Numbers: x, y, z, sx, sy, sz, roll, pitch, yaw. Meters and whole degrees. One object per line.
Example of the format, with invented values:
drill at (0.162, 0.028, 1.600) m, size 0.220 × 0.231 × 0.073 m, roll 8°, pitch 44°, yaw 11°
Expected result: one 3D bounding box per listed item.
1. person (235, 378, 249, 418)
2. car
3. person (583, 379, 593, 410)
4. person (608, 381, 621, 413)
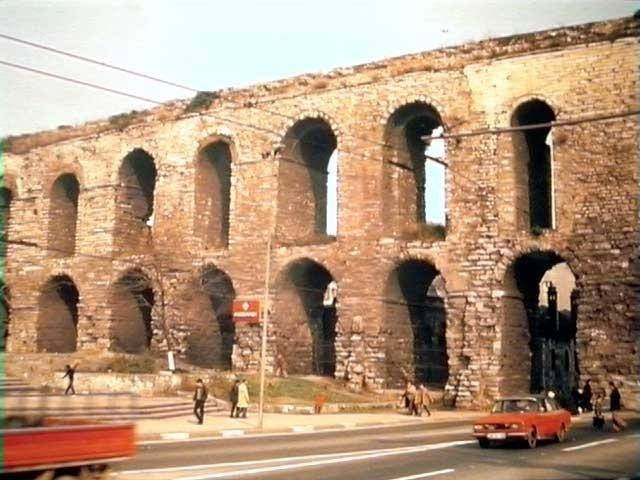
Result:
person at (-2.749, 5.678, 29.318) m, size 0.402 × 1.370 × 1.251 m, roll 0°, pitch -12°, yaw -5°
car at (5.866, 5.109, 23.045) m, size 1.313 × 0.869 × 2.609 m, roll -13°, pitch -19°, yaw 35°
person at (9.877, 5.759, 30.360) m, size 0.354 × 1.151 × 0.683 m, roll -5°, pitch -12°, yaw 17°
person at (10.576, 5.655, 29.438) m, size 0.442 × 1.059 × 1.632 m, roll -5°, pitch -13°, yaw 19°
